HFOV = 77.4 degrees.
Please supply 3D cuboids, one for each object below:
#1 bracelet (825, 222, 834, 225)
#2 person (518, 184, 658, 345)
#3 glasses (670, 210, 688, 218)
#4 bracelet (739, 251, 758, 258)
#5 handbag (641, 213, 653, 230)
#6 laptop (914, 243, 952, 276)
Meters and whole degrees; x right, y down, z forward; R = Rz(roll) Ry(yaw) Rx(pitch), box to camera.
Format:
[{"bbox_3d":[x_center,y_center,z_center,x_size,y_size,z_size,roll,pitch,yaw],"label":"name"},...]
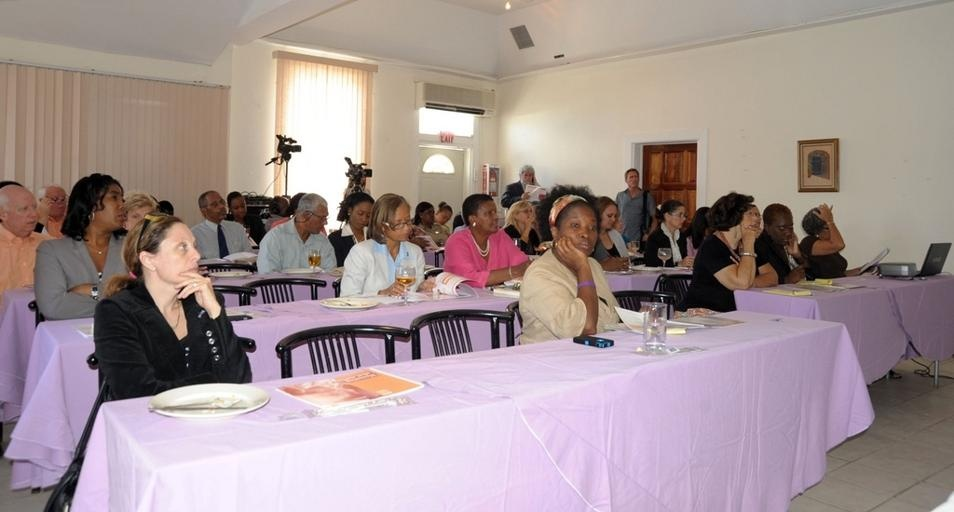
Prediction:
[{"bbox_3d":[3.946,-0.357,6.640,0.030,0.028,0.046,-4,1,-40],"label":"bracelet"},{"bbox_3d":[0.691,0.139,4.595,0.933,1.257,1.387,2,12,35],"label":"person"},{"bbox_3d":[2.590,-0.536,7.618,0.243,0.069,0.236,-3,3,-37],"label":"glasses"},{"bbox_3d":[2.433,-0.010,5.335,0.087,0.046,0.087,-3,-4,31],"label":"bracelet"},{"bbox_3d":[2.860,-0.572,9.934,0.295,0.265,0.151,3,-2,12],"label":"handbag"},{"bbox_3d":[4.845,0.041,6.264,0.507,0.322,0.359,-5,12,-45],"label":"laptop"}]
